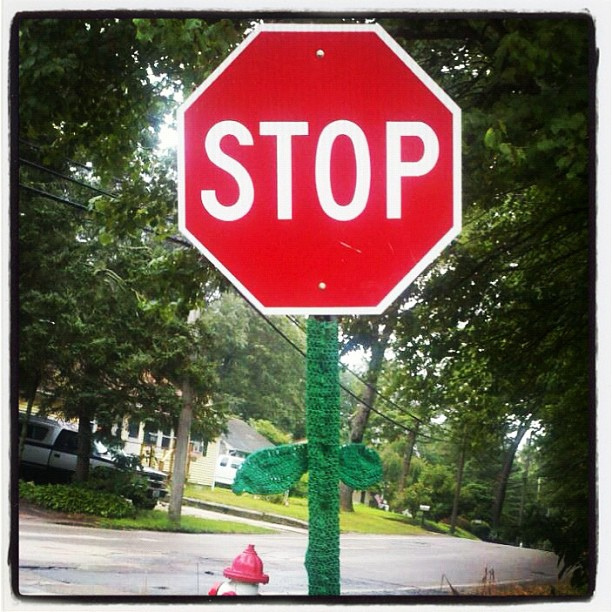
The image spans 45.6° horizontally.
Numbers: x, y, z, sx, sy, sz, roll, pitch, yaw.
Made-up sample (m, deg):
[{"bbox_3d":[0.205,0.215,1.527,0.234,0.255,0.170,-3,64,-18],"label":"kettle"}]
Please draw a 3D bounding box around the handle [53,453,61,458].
[{"bbox_3d":[-1.473,0.891,4.310,0.025,0.026,0.007,5,-40,-8],"label":"handle"}]

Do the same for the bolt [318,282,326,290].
[{"bbox_3d":[0.054,-0.063,2.359,0.020,0.021,0.011,31,2,-7],"label":"bolt"}]

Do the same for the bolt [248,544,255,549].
[{"bbox_3d":[-0.210,0.944,2.835,0.020,0.025,0.021,4,-3,-1],"label":"bolt"}]

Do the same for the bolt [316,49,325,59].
[{"bbox_3d":[0.049,-0.870,2.511,0.024,0.030,0.024,-5,14,-28],"label":"bolt"}]
